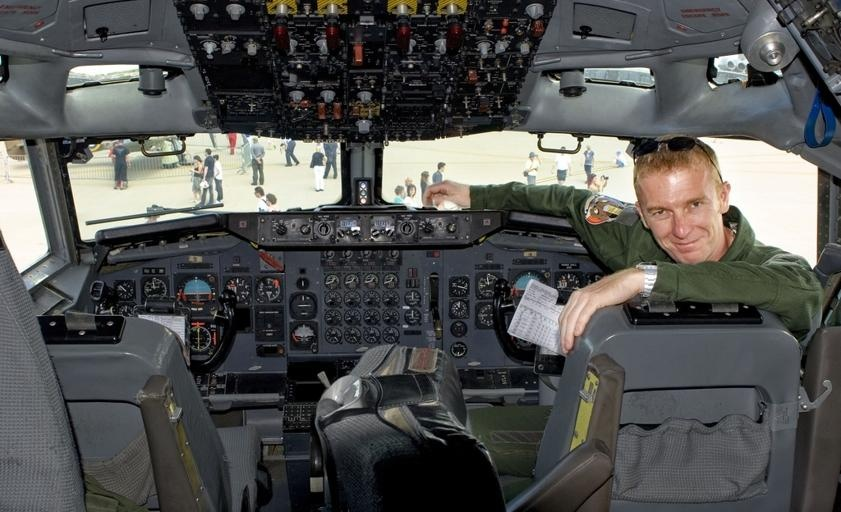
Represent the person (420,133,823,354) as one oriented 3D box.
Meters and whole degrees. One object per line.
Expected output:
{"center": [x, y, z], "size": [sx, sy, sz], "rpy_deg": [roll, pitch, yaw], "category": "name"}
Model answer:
{"center": [1.152, -0.151, 3.664], "size": [1.099, 1.308, 1.524], "rpy_deg": [-46, 33, -23], "category": "person"}
